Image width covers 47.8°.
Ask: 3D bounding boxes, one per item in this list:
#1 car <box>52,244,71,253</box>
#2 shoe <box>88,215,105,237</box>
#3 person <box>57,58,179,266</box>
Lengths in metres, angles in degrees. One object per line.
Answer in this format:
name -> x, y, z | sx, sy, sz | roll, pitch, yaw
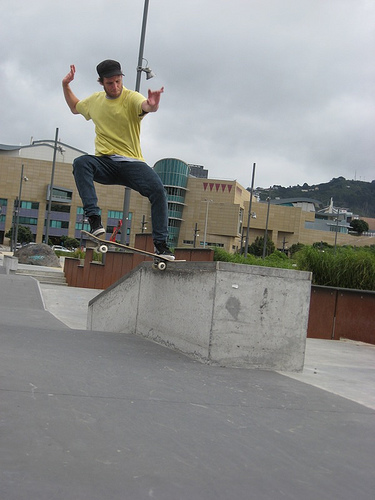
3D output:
car -> -19.701, -0.218, 66.302 | 2.096, 1.144, 1.266 | -5, 12, -6
shoe -> -0.906, -0.236, 4.205 | 0.108, 0.191, 0.277 | -25, 7, -11
person -> -0.719, -0.980, 4.266 | 1.339, 2.147, 0.972 | -2, -1, 21
